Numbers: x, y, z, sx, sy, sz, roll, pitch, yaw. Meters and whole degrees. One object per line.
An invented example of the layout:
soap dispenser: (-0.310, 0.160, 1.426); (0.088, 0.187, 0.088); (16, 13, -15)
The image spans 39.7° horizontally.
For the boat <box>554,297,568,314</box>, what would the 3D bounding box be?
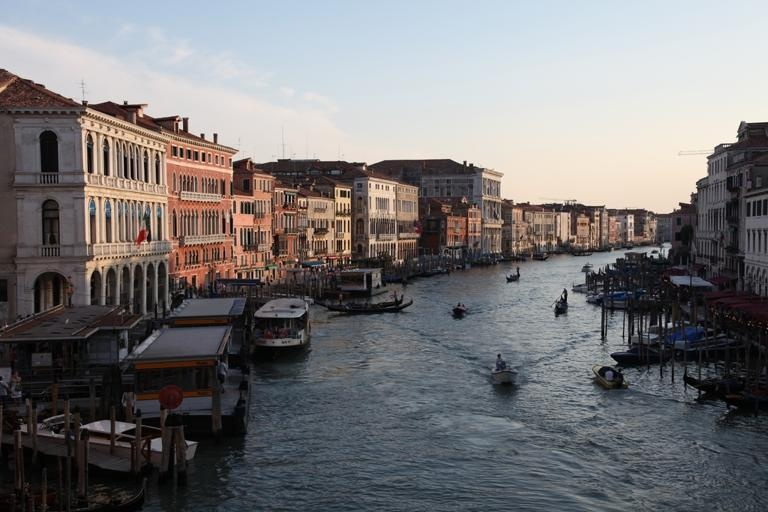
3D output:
boat: (18.928, 5.512, 115.004); (0.869, 1.130, 3.384); (4, 7, 19)

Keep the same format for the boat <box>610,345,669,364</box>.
boat: (19.931, 7.864, 84.327); (5.548, 1.285, 1.769); (6, -10, -37)

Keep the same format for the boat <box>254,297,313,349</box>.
boat: (-8.345, 5.636, 87.686); (3.632, 3.155, 5.918); (-1, 18, 2)

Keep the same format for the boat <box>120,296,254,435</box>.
boat: (-13.286, 7.233, 73.979); (8.157, 7.085, 30.296); (-1, 2, -7)

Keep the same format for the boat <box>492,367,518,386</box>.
boat: (8.503, 8.712, 76.954); (1.214, 1.081, 1.844); (-3, 3, -34)

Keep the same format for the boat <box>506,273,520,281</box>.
boat: (19.226, 3.194, 161.083); (0.899, 1.189, 3.742); (1, 7, 30)

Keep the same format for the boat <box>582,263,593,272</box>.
boat: (36.406, 1.959, 192.231); (1.125, 1.357, 3.461); (3, 12, 15)
